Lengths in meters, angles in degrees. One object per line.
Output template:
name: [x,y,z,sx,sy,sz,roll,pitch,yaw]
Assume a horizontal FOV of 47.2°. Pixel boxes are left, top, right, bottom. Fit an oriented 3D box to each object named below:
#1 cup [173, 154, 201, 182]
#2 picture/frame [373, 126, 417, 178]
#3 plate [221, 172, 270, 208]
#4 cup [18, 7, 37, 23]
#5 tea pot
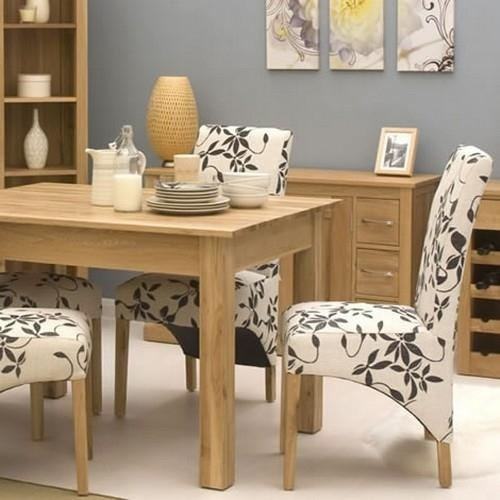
cup: [-0.204,-0.257,1.863,0.076,0.104,0.086,-1,4,-18]
picture/frame: [0.738,-0.485,2.883,0.224,0.356,0.043,5,-21,27]
plate: [-0.016,-0.173,1.749,0.105,0.092,0.104,2,5,30]
cup: [-1.206,-1.273,3.126,0.071,0.077,0.086,0,3,-5]
tea pot: [-0.444,-0.229,1.832,0.178,0.214,0.133,4,5,9]
